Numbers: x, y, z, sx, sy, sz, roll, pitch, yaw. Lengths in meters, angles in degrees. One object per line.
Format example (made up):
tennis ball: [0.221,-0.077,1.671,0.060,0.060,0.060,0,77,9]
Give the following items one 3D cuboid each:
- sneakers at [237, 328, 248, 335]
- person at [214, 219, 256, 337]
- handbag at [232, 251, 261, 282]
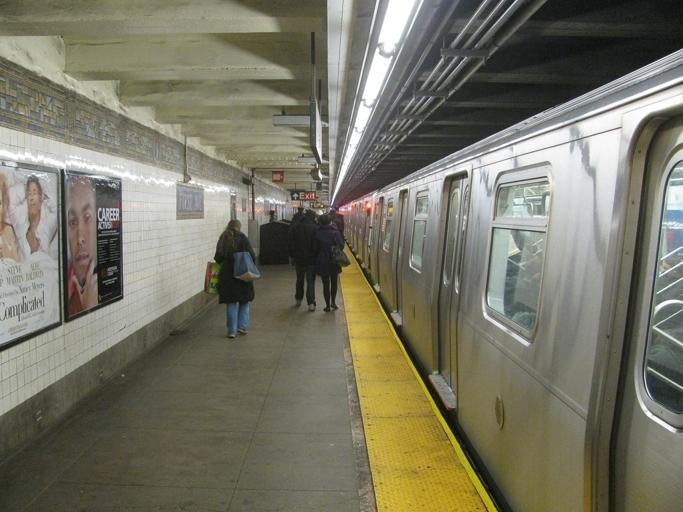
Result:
sneakers: [-1.586,1.209,8.070,0.162,0.088,0.064,-1,5,-2]
person: [-1.651,0.357,7.813,0.597,1.856,0.614,-2,8,-11]
handbag: [-1.455,0.172,7.622,0.369,0.476,0.292,-2,8,-13]
